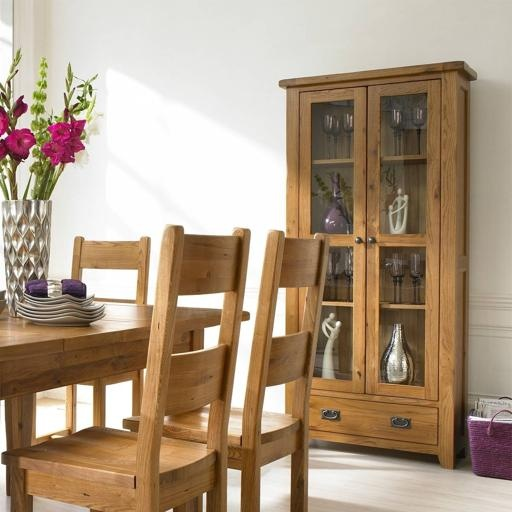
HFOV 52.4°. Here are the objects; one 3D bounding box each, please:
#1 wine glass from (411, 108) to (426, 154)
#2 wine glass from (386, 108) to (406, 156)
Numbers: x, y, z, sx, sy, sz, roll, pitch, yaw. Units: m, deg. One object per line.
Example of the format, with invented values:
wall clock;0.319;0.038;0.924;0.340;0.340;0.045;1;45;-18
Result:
wine glass;0.848;-0.659;2.709;0.064;0.249;0.029;0;-1;17
wine glass;0.748;-0.666;2.768;0.070;0.251;0.030;0;-1;22
